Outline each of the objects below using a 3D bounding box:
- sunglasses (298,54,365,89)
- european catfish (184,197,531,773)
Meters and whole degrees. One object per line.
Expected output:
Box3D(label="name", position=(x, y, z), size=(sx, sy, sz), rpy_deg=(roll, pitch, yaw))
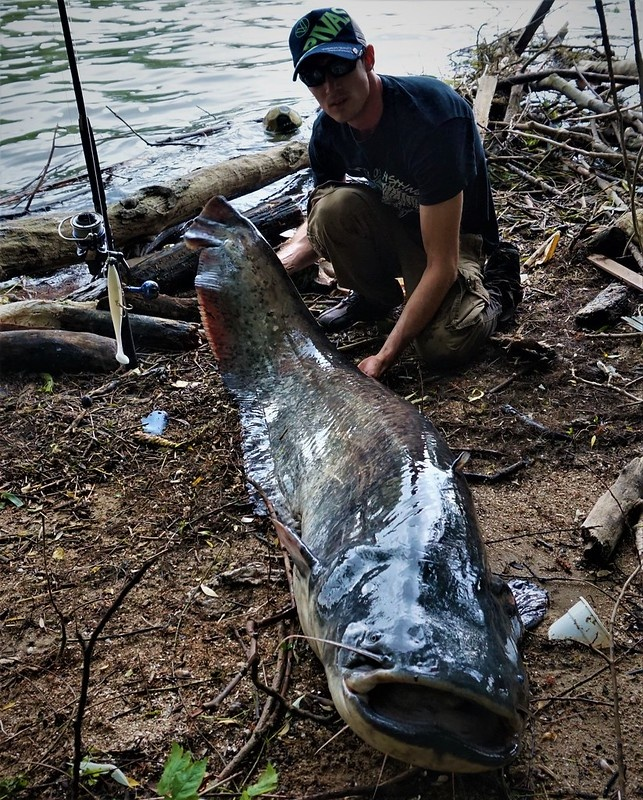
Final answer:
Box3D(label="sunglasses", position=(0.024, -1.305, 3.293), size=(0.248, 0.104, 0.086), rpy_deg=(4, 24, 28))
Box3D(label="european catfish", position=(-0.055, 0.339, 2.693), size=(0.731, 0.532, 1.932), rpy_deg=(2, 31, -13))
